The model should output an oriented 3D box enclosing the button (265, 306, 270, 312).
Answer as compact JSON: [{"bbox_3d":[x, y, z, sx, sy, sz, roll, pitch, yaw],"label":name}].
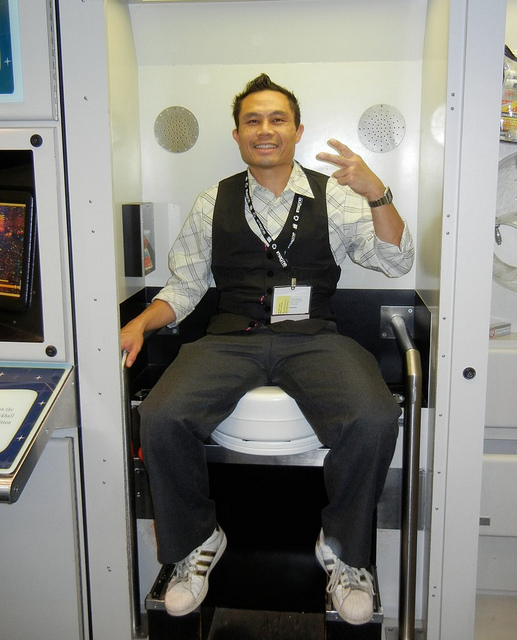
[{"bbox_3d":[0.026,-0.031,1.591,0.013,0.017,0.002,2,9,11],"label":"button"}]

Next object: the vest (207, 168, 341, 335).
[{"bbox_3d":[0.026,-0.184,1.658,0.394,0.502,0.337,0,20,-11],"label":"vest"}]

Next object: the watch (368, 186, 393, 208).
[{"bbox_3d":[0.329,-0.326,1.472,0.067,0.041,0.068,13,33,36],"label":"watch"}]

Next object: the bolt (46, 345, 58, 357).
[{"bbox_3d":[-0.505,0.077,1.307,0.028,0.030,0.006,1,9,7],"label":"bolt"}]

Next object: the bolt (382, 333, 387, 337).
[{"bbox_3d":[0.458,0.056,1.945,0.013,0.014,0.001,2,9,12],"label":"bolt"}]

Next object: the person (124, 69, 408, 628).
[{"bbox_3d":[0.015,0.009,1.497,0.753,1.362,0.779,-4,5,-44],"label":"person"}]

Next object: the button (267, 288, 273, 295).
[{"bbox_3d":[0.034,-0.084,1.592,0.016,0.016,0.004,-2,3,22],"label":"button"}]

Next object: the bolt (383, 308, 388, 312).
[{"bbox_3d":[0.461,-0.034,1.936,0.014,0.013,0.003,-2,2,8],"label":"bolt"}]

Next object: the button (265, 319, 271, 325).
[{"bbox_3d":[0.027,0.006,1.587,0.015,0.014,0.011,3,9,12],"label":"button"}]

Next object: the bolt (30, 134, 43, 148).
[{"bbox_3d":[-0.502,-0.401,1.206,0.028,0.027,0.004,1,9,10],"label":"bolt"}]

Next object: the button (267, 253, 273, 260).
[{"bbox_3d":[0.036,-0.189,1.608,0.017,0.017,0.006,-5,-3,5],"label":"button"}]

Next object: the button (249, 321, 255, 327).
[{"bbox_3d":[-0.025,0.014,1.577,0.013,0.003,0.013,11,49,14],"label":"button"}]
